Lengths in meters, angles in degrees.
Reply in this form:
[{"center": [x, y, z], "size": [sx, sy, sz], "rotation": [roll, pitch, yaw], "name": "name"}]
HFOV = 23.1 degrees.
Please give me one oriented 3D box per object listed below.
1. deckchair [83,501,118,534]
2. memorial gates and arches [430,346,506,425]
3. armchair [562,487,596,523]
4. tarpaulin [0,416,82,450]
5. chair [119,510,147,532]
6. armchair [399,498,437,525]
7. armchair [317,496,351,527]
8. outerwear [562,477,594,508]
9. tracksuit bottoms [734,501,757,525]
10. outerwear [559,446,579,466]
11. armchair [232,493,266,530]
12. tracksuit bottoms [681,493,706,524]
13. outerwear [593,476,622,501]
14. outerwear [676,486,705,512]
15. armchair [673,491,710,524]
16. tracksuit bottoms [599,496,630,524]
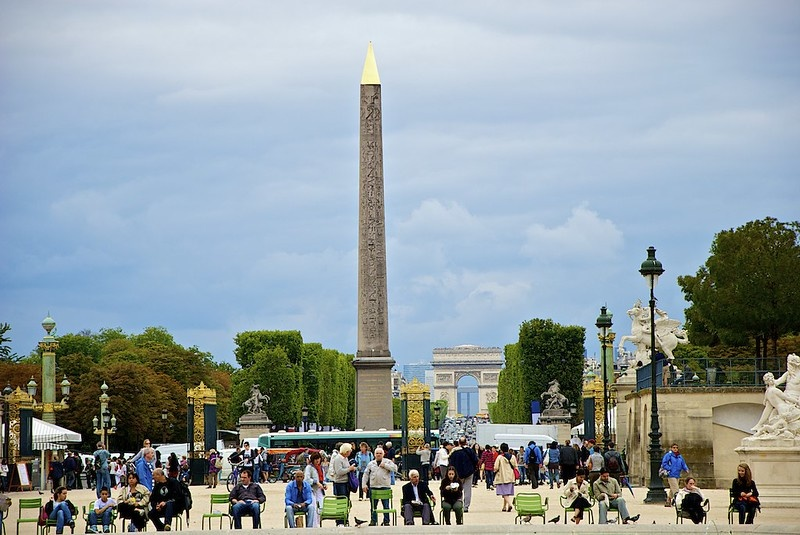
[{"center": [-9.546, 8.401, 62.446], "size": [1.068, 1.237, 1.059], "rotation": [0, -39, -5], "name": "deckchair"}, {"center": [6.997, 11.973, 203.442], "size": [6.850, 7.295, 6.423], "rotation": [-4, -9, 10], "name": "memorial gates and arches"}, {"center": [5.717, 7.685, 63.056], "size": [1.210, 1.260, 1.440], "rotation": [3, 4, 4], "name": "armchair"}, {"center": [-15.252, 7.149, 82.604], "size": [3.983, 1.466, 3.460], "rotation": [0, -9, -2], "name": "tarpaulin"}, {"center": [-8.450, 8.201, 62.174], "size": [0.809, 0.872, 1.235], "rotation": [0, 20, -3], "name": "chair"}, {"center": [0.571, 8.027, 62.577], "size": [0.707, 0.888, 1.185], "rotation": [-1, 8, 3], "name": "armchair"}, {"center": [-2.284, 7.977, 62.561], "size": [1.133, 1.266, 0.983], "rotation": [0, -7, 3], "name": "armchair"}, {"center": [5.711, 7.470, 63.391], "size": [1.154, 1.093, 0.946], "rotation": [4, -18, -6], "name": "outerwear"}, {"center": [11.033, 7.942, 62.310], "size": [0.766, 0.689, 0.781], "rotation": [-4, -8, 7], "name": "tracksuit bottoms"}, {"center": [6.200, 7.079, 71.961], "size": [0.876, 0.723, 0.433], "rotation": [1, -16, -2], "name": "outerwear"}, {"center": [-4.852, 7.902, 62.088], "size": [0.977, 0.962, 1.117], "rotation": [1, 35, 0], "name": "armchair"}, {"center": [9.318, 7.764, 62.144], "size": [0.630, 1.030, 0.335], "rotation": [24, -47, -34], "name": "tracksuit bottoms"}, {"center": [6.654, 7.238, 62.887], "size": [0.864, 0.673, 0.747], "rotation": [-1, -18, -3], "name": "outerwear"}, {"center": [9.160, 7.489, 62.459], "size": [0.715, 0.766, 0.361], "rotation": [3, 19, 13], "name": "outerwear"}, {"center": [9.293, 7.840, 62.560], "size": [1.333, 1.410, 0.859], "rotation": [2, -44, 2], "name": "armchair"}, {"center": [6.795, 7.864, 62.459], "size": [0.948, 0.852, 1.074], "rotation": [-4, -8, 5], "name": "tracksuit bottoms"}]
